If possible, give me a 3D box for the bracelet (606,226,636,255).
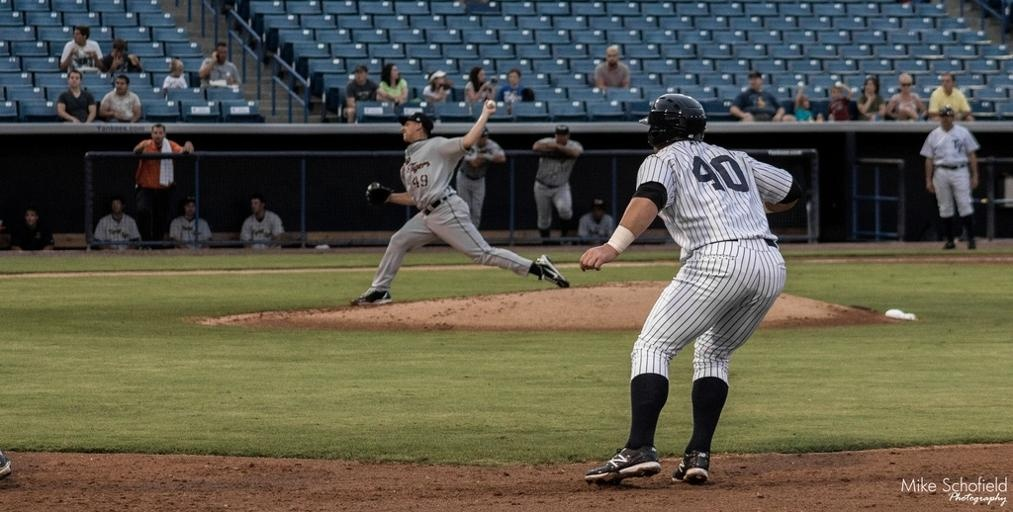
[{"bbox_3d":[2.011,-0.297,34.629,0.471,0.442,0.213,0,1,12],"label":"bracelet"}]

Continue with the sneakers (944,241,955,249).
[{"bbox_3d":[10.172,-0.245,45.714,0.219,0.199,0.579,0,-1,14],"label":"sneakers"}]

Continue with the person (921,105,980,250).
[{"bbox_3d":[10.091,-1.742,45.469,1.231,3.199,0.871,0,1,10],"label":"person"}]

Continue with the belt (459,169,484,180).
[{"bbox_3d":[-0.703,-1.797,43.858,0.351,0.185,0.331,0,5,-22],"label":"belt"}]

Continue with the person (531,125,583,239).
[{"bbox_3d":[1.287,-1.708,46.486,1.488,2.343,1.053,1,1,-10],"label":"person"}]

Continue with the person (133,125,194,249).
[{"bbox_3d":[-7.818,-1.525,46.020,1.177,2.634,1.194,0,1,-20],"label":"person"}]
